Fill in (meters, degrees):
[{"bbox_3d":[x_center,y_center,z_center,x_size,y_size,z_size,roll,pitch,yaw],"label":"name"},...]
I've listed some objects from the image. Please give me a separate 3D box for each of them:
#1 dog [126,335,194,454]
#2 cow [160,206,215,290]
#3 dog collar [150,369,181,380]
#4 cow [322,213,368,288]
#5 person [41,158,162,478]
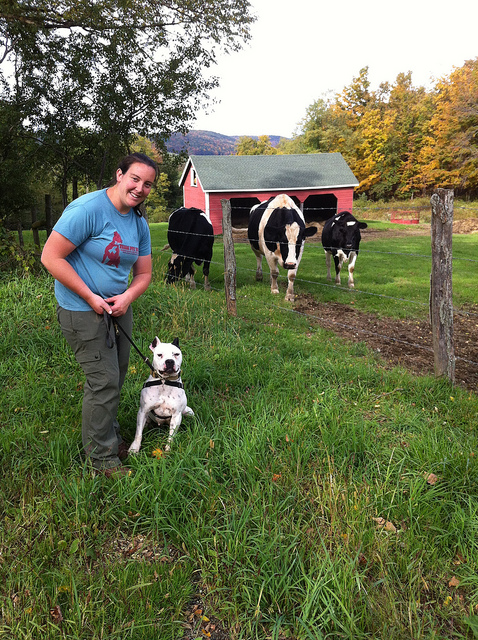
[{"bbox_3d":[-0.546,0.526,3.351,0.469,0.795,0.886,2,-1,-6],"label":"dog"},{"bbox_3d":[-1.091,-1.708,10.498,0.927,1.690,1.808,-3,12,-20],"label":"cow"},{"bbox_3d":[-0.505,0.393,3.183,0.203,0.075,0.140,-3,12,-19],"label":"dog collar"},{"bbox_3d":[2.471,-1.708,10.923,0.804,1.650,2.042,1,11,1],"label":"cow"},{"bbox_3d":[-0.803,-0.036,2.876,0.550,1.873,0.760,3,11,12],"label":"person"}]
